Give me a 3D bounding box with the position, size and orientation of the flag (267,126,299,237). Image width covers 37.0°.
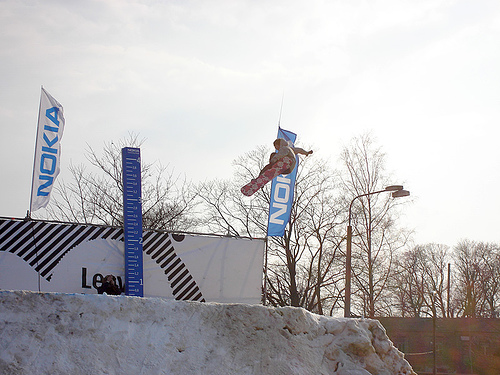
[{"bbox_3d":[1.316,-0.240,28.853,0.992,4.585,0.032,10,-26,-5],"label":"flag"}]
